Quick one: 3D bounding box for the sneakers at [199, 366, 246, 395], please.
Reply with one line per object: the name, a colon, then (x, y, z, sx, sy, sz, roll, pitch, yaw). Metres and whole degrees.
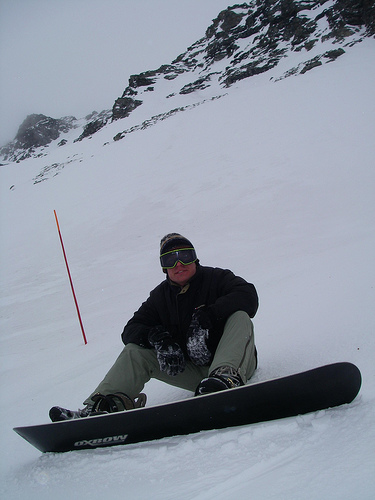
sneakers: (0.178, 0.691, 2.583, 0.096, 0.101, 0.275, -25, -25, 14)

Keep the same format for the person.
person: (-0.087, 0.480, 3.244, 1.126, 1.180, 1.393, -16, -19, 20)

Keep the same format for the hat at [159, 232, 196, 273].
hat: (-0.068, 0.014, 3.604, 0.254, 0.238, 0.317, -9, -5, 0)

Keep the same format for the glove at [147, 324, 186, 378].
glove: (-0.130, 0.643, 3.104, 0.105, 0.314, 0.195, -42, 17, 14)

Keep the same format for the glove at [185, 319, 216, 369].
glove: (0.079, 0.583, 3.035, 0.221, 0.268, 0.124, -24, -25, 16)
